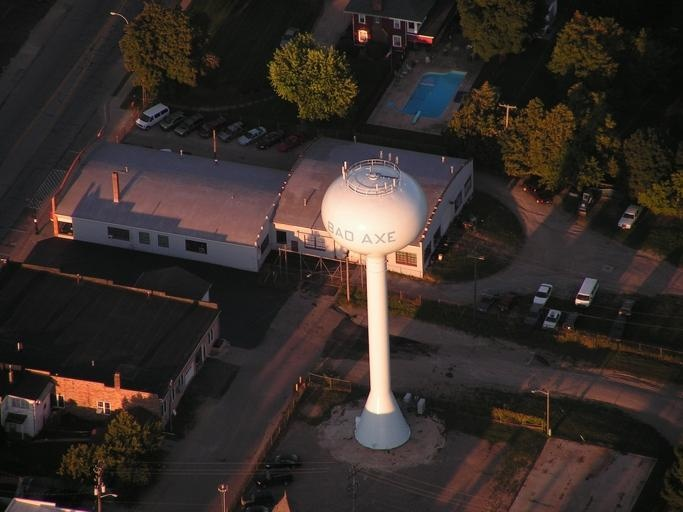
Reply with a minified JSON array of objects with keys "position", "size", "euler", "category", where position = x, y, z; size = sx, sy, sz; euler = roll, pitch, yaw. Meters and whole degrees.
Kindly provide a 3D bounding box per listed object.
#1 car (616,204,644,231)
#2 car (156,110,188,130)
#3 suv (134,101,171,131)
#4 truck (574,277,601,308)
[{"position":[35.354,-4.743,190.688],"size":[1.879,1.577,3.922],"euler":[26,52,13],"category":"car"},{"position":[-22.341,-17.867,205.121],"size":[1.825,1.090,3.243],"euler":[36,63,24],"category":"car"},{"position":[-25.165,-18.359,205.603],"size":[2.454,1.689,4.597],"euler":[36,58,20],"category":"suv"},{"position":[28.942,4.490,182.356],"size":[1.927,1.353,3.856],"euler":[14,49,19],"category":"truck"}]
